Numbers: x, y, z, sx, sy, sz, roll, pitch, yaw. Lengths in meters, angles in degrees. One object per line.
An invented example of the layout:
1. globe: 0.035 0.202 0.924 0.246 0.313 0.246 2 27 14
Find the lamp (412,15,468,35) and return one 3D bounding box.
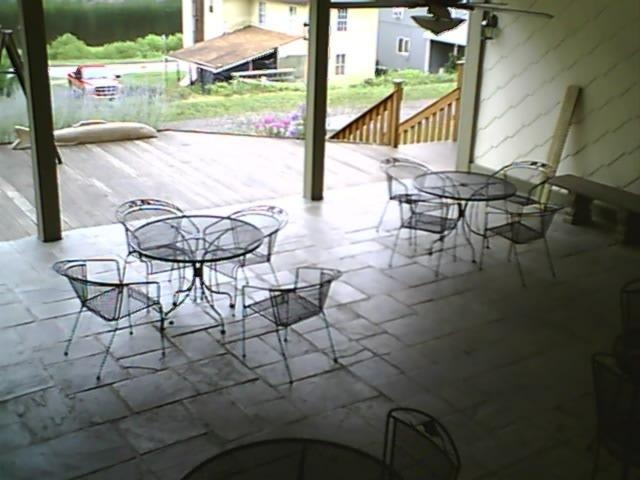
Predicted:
1. lamp: 0.960 -1.767 4.429 0.415 0.148 0.361 17 26 33

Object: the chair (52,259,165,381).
1. chair: -1.950 0.765 4.898 0.709 0.775 0.799 29 36 35

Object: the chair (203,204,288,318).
1. chair: -0.787 0.255 5.583 0.846 0.956 0.821 -16 42 -33

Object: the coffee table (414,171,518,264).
1. coffee table: 1.585 -0.231 7.001 1.462 0.903 1.238 0 30 0
